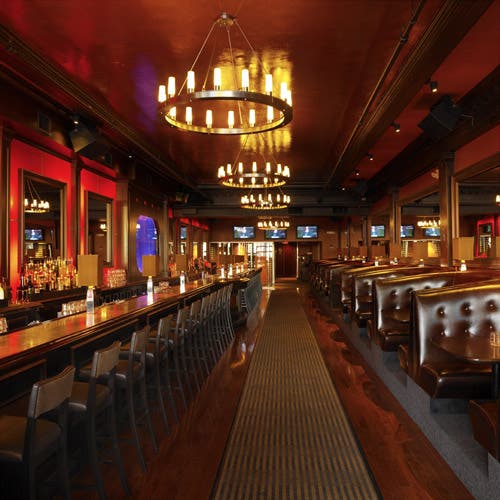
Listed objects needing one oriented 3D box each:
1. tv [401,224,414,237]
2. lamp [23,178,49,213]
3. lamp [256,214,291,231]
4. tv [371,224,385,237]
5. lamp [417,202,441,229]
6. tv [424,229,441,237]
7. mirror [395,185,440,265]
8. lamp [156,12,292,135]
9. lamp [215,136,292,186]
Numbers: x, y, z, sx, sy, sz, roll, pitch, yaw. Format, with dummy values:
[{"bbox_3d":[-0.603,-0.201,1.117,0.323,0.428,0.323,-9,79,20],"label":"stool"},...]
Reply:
[{"bbox_3d":[7.879,-0.738,21.215,0.660,0.716,0.095,3,-11,5],"label":"tv"},{"bbox_3d":[-3.951,-0.924,7.774,0.479,0.814,0.483,2,-6,-29],"label":"lamp"},{"bbox_3d":[0.997,-0.979,18.509,0.897,0.470,0.963,3,5,27],"label":"lamp"},{"bbox_3d":[6.497,-0.758,21.514,0.674,0.638,0.075,0,-6,9],"label":"tv"},{"bbox_3d":[8.186,-1.261,19.495,0.924,0.794,4.252,-1,0,22],"label":"lamp"},{"bbox_3d":[8.846,-0.625,20.594,0.708,0.700,0.111,0,-12,8],"label":"tv"},{"bbox_3d":[5.948,-0.778,14.958,0.957,2.025,2.004,0,-3,7],"label":"mirror"},{"bbox_3d":[-0.369,-2.322,5.966,1.767,1.478,1.906,9,22,22],"label":"lamp"},{"bbox_3d":[-0.007,-2.096,9.790,1.408,1.753,1.507,4,9,26],"label":"lamp"}]
